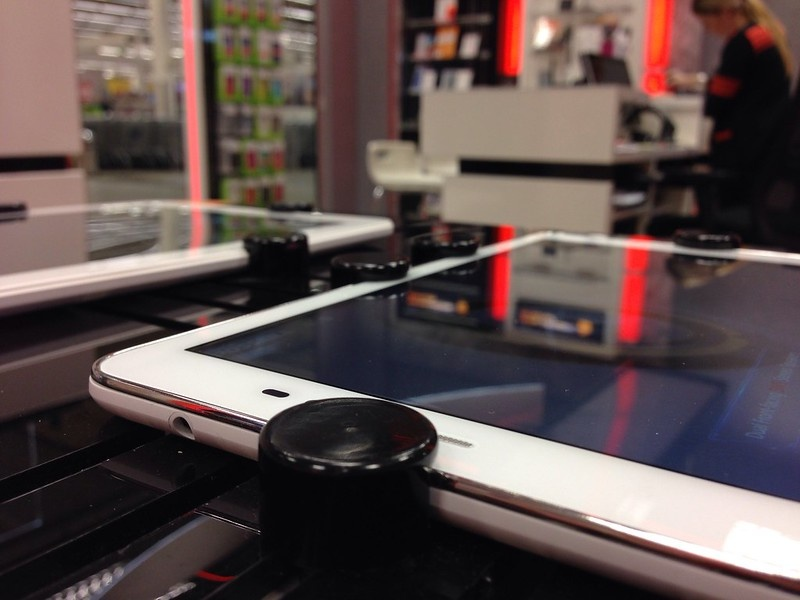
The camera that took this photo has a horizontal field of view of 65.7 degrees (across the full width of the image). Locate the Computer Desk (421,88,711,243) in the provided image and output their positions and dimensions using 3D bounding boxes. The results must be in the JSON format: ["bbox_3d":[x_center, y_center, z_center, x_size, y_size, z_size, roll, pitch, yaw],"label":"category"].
[{"bbox_3d":[0.550,-0.463,2.247,0.784,0.458,0.777,5,13,31],"label":"Computer Desk"}]
